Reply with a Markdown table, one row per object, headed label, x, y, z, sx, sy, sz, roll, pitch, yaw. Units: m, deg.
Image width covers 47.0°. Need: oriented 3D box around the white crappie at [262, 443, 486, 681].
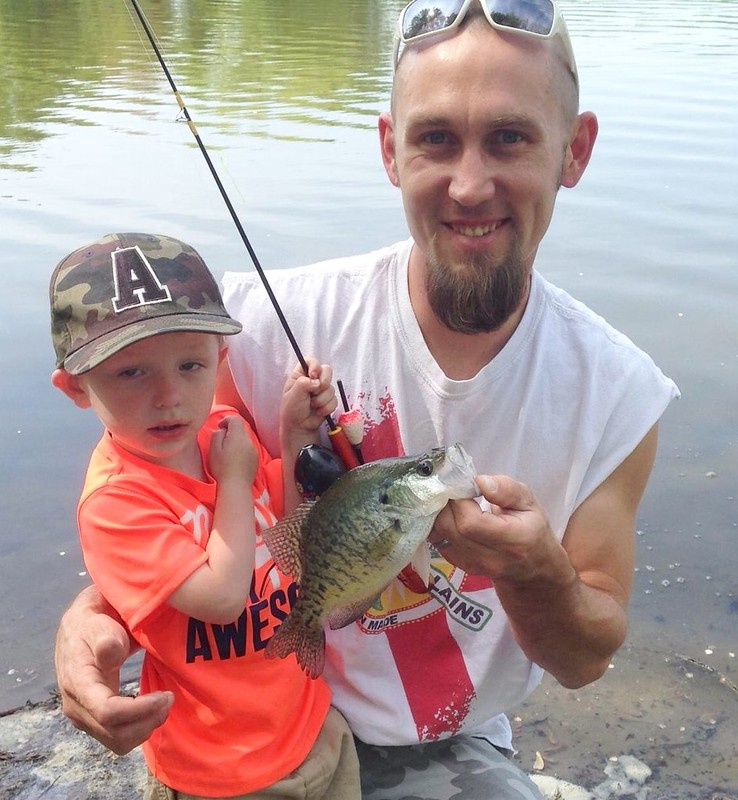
| label | x | y | z | sx | sy | sz | roll | pitch | yaw |
| --- | --- | --- | --- | --- | --- | --- | --- | --- | --- |
| white crappie | -0.013 | 0.474 | 2.536 | 0.668 | 0.699 | 0.300 | -8 | 26 | -7 |
